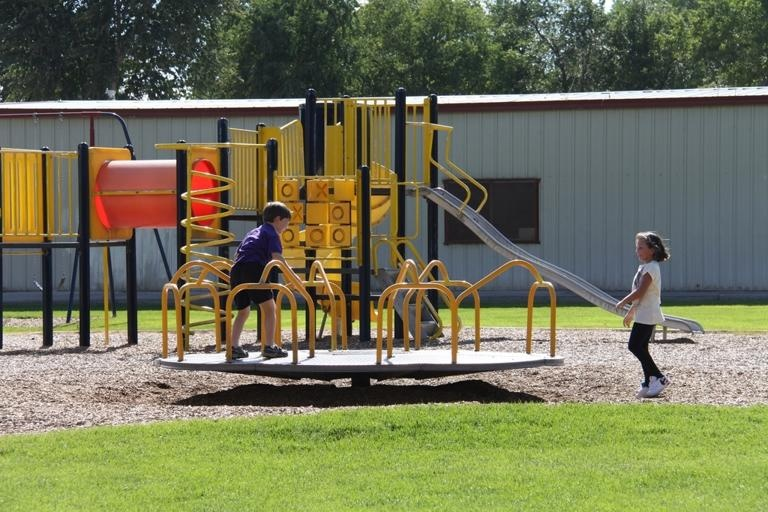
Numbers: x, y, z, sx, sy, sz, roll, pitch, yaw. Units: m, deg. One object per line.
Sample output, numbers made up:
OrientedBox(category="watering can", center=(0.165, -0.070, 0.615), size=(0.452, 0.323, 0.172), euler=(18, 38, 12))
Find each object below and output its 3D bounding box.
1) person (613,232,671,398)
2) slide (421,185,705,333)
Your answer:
OrientedBox(category="person", center=(6.019, 1.358, 37.554), size=(1.022, 3.827, 0.904), euler=(0, 1, 10))
OrientedBox(category="slide", center=(4.104, 0.161, 42.730), size=(1.111, 1.067, 9.728), euler=(7, 17, -46))
